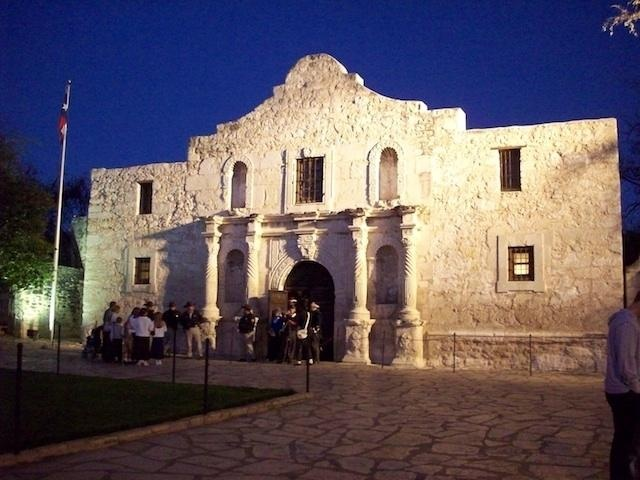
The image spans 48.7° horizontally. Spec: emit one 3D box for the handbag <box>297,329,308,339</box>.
[{"bbox_3d":[-0.517,2.966,22.364,0.246,0.299,0.331,-2,-17,11],"label":"handbag"}]
